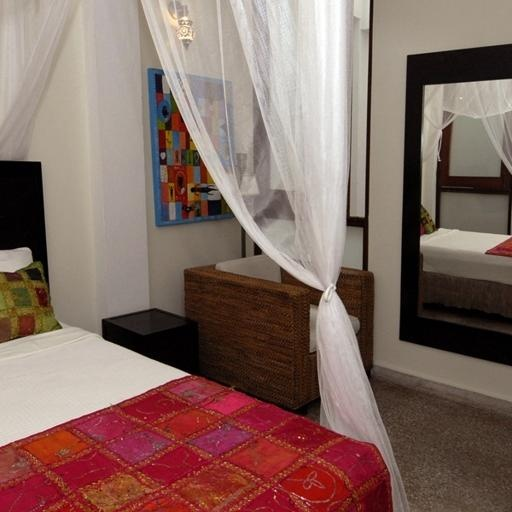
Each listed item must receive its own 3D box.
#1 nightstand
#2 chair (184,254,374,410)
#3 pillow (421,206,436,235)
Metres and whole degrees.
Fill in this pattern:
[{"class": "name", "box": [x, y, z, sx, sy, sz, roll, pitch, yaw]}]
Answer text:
[{"class": "nightstand", "box": [-0.677, 0.475, 2.822, 0.412, 0.506, 0.409, -6, 10, -43]}, {"class": "chair", "box": [0.132, 0.234, 3.056, 0.890, 0.976, 0.890, 6, 10, 39]}, {"class": "pillow", "box": [1.128, -0.227, 2.969, 0.038, 0.153, 0.144, -19, -1, -2]}]
